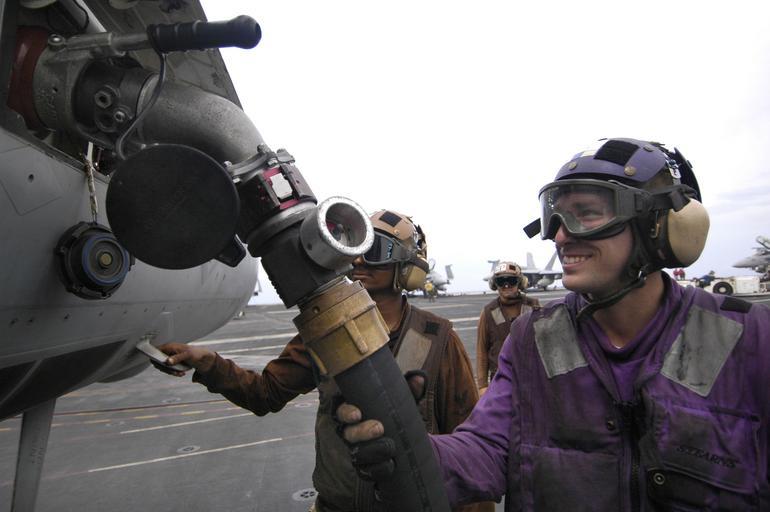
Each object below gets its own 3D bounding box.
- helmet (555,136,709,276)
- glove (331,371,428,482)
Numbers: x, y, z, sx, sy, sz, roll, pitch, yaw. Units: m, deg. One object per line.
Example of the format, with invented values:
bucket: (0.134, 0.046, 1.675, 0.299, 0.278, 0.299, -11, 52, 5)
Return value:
helmet: (1.133, -0.198, 2.357, 0.537, 0.433, 0.522, 11, -15, -17)
glove: (0.013, 0.769, 2.447, 0.212, 0.466, 0.354, -10, 7, -29)
